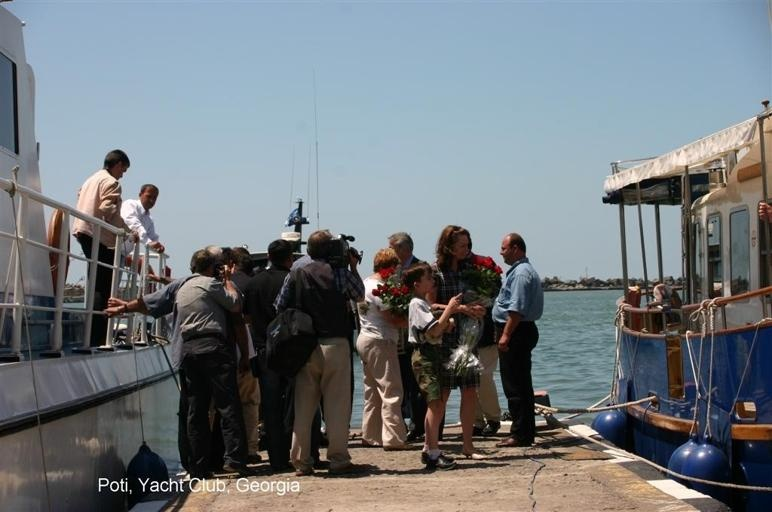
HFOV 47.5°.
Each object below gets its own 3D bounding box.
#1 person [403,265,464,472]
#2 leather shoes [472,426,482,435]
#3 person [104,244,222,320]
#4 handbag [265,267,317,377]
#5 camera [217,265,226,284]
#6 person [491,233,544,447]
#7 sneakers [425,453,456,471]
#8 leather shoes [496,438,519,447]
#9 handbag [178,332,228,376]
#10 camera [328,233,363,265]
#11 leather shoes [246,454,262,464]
[{"bbox_3d":[0.519,1.168,9.585,0.592,2.218,0.520,0,-7,-9],"label":"person"},{"bbox_3d":[1.174,2.215,11.245,0.116,0.090,0.102,1,2,-39],"label":"leather shoes"},{"bbox_3d":[-2.295,0.317,9.668,1.534,0.715,0.493,-8,7,-22],"label":"person"},{"bbox_3d":[-1.001,0.720,9.387,0.380,0.506,1.027,15,32,-15],"label":"handbag"},{"bbox_3d":[-1.830,0.187,9.810,0.056,0.153,0.105,-2,-3,3],"label":"camera"},{"bbox_3d":[1.553,0.967,10.243,0.565,2.461,0.666,-1,-7,1],"label":"person"},{"bbox_3d":[0.585,2.232,9.588,0.350,0.156,0.142,-1,-3,14],"label":"sneakers"},{"bbox_3d":[1.445,2.189,10.405,0.267,0.113,0.107,2,-7,4],"label":"leather shoes"},{"bbox_3d":[-1.935,0.922,9.370,0.538,0.341,0.390,-11,-32,5],"label":"handbag"},{"bbox_3d":[-0.441,-0.053,8.598,0.228,0.334,0.312,1,9,7],"label":"camera"},{"bbox_3d":[-1.509,2.307,10.101,0.142,0.111,0.143,1,-1,-13],"label":"leather shoes"}]
